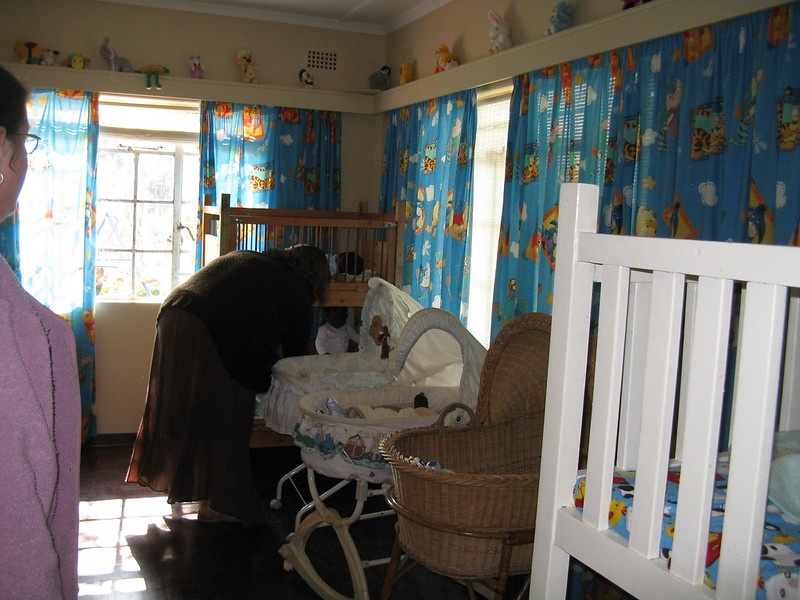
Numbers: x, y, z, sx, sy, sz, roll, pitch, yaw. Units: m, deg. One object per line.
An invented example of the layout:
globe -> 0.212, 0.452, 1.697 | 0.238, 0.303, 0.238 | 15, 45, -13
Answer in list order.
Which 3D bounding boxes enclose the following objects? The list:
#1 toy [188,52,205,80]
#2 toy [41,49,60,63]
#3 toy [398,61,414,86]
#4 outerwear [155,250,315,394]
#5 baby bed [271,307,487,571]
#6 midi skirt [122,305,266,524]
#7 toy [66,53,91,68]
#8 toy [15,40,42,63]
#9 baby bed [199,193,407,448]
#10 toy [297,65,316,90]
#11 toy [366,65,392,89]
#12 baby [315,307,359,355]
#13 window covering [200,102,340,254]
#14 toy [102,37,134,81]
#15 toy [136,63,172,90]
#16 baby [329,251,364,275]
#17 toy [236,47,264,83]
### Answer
toy -> -1.432, -1.648, 4.614 | 0.101, 0.180, 0.125 | -2, 9, -18
toy -> -2.324, -1.624, 4.341 | 0.119, 0.084, 0.086 | 13, -2, 42
toy -> 0.060, -1.604, 4.605 | 0.098, 0.182, 0.151 | 0, 9, -6
outerwear -> -0.719, 0.035, 3.316 | 0.775, 0.758, 0.560 | 12, 12, -39
baby bed -> -0.052, 0.500, 3.261 | 1.133, 1.447, 0.903 | 3, 5, -24
midi skirt -> -1.055, 0.455, 3.321 | 0.687, 1.043, 0.391 | -4, -11, 41
toy -> -2.164, -1.621, 4.362 | 0.121, 0.061, 0.124 | -6, 24, -14
toy -> -2.427, -1.635, 4.315 | 0.160, 0.130, 0.104 | 4, -8, 3
baby bed -> -0.567, 0.038, 4.209 | 1.119, 1.358, 0.500 | 2, 8, -8
toy -> -0.691, -1.662, 4.880 | 0.123, 0.153, 0.132 | 0, 9, -9
toy -> -0.135, -1.683, 5.016 | 0.208, 0.222, 0.156 | 2, -4, 3
baby -> -0.395, 0.207, 4.249 | 0.268, 0.356, 0.188 | -5, 5, -38
window covering -> -0.946, -0.875, 4.558 | 1.183, 1.321, 0.093 | 0, 6, -11
toy -> -1.923, -1.666, 4.450 | 0.210, 0.237, 0.140 | -3, 10, -25
toy -> -1.697, -1.536, 4.513 | 0.206, 0.178, 0.164 | -2, 10, -22
baby -> -0.341, -0.235, 4.196 | 0.202, 0.098, 0.271 | 0, 1, -5
toy -> -1.101, -1.694, 4.732 | 0.140, 0.235, 0.104 | -3, 10, -24
